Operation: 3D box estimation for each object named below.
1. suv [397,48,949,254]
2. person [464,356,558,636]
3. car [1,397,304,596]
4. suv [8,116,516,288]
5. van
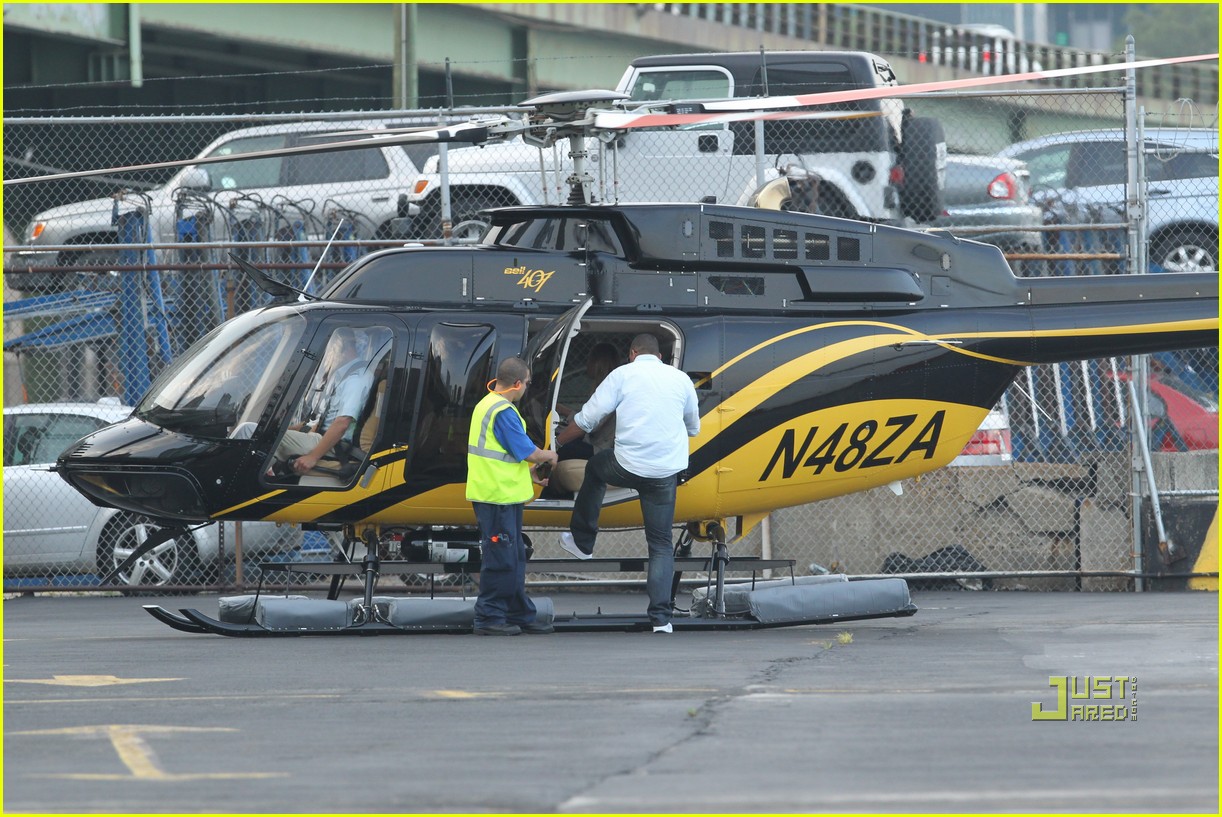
[{"bbox_3d":[1.284,-3.942,31.525,6.159,2.253,3.002,2,2,3],"label":"suv"},{"bbox_3d":[-1.134,1.006,26.667,0.864,3.108,0.469,-3,6,-6],"label":"person"},{"bbox_3d":[-7.194,1.141,32.888,7.536,2.565,3.031,2,-2,-26],"label":"car"},{"bbox_3d":[-4.557,-3.133,31.801,6.271,2.199,2.729,1,3,-10],"label":"suv"},{"bbox_3d":[7.433,-3.080,33.840,3.250,1.267,1.849,2,4,4],"label":"van"}]
